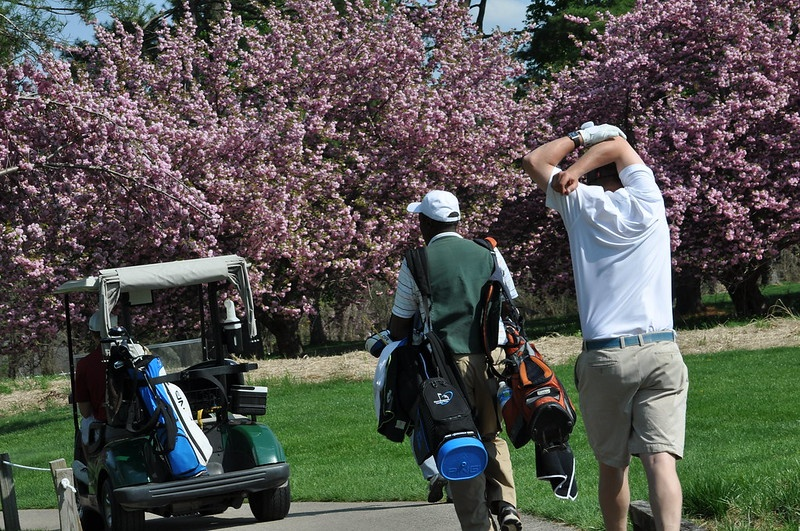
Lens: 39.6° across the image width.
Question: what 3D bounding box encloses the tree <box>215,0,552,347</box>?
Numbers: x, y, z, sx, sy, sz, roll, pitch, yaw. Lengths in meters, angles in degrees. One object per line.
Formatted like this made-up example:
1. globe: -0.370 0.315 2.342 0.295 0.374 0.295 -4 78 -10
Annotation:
1. tree: -0.416 -3.242 29.827 9.770 10.401 7.892 -4 6 1

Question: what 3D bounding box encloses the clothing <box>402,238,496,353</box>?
1. clothing: 0.825 0.503 15.088 1.117 1.739 1.101 -15 -28 1

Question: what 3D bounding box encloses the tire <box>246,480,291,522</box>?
1. tire: -1.958 3.536 16.878 0.317 0.732 0.739 -3 -1 -21
